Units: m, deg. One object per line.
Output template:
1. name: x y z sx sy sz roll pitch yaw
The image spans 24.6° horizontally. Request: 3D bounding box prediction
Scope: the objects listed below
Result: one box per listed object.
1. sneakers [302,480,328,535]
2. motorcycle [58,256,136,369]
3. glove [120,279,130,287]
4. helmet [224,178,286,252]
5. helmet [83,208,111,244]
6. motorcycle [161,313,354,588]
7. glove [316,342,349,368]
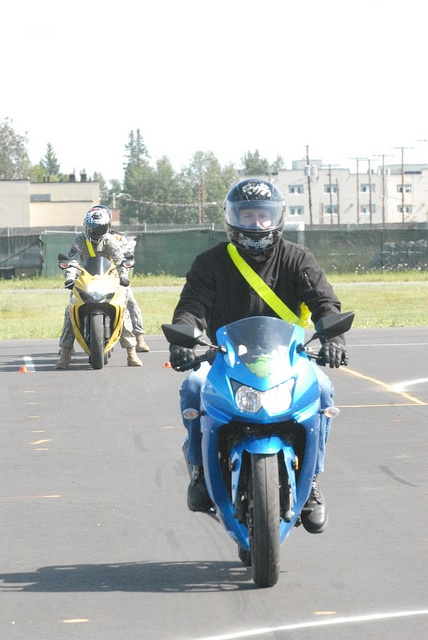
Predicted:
1. sneakers: 0.493 0.903 4.724 0.099 0.118 0.304 -6 31 11
2. motorcycle: -1.512 -0.062 12.578 0.538 1.466 0.725 1 5 26
3. glove: -1.170 -0.471 12.760 0.093 0.106 0.261 1 -4 -7
4. helmet: 0.206 -0.558 5.093 0.332 0.347 0.388 -1 15 -4
5. helmet: -1.533 -1.254 12.853 0.337 0.480 0.646 -2 4 -8
6. motorcycle: 0.180 0.507 4.696 0.698 0.816 1.399 -1 -4 1
7. glove: 0.545 0.168 4.565 0.114 0.135 0.046 1 -8 5
